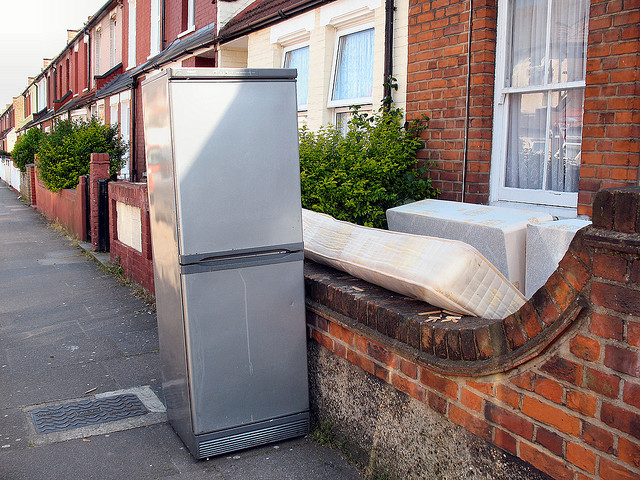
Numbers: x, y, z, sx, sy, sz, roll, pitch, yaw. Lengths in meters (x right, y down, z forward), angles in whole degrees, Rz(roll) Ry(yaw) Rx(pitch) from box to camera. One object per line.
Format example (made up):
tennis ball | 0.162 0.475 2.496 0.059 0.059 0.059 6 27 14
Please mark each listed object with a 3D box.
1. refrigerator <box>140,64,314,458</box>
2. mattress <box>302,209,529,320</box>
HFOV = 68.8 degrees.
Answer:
refrigerator | -0.654 0.164 3.389 1.165 2.694 0.746 -3 13 -12
mattress | 0.378 0.156 3.713 0.428 0.601 2.415 -17 14 -22
